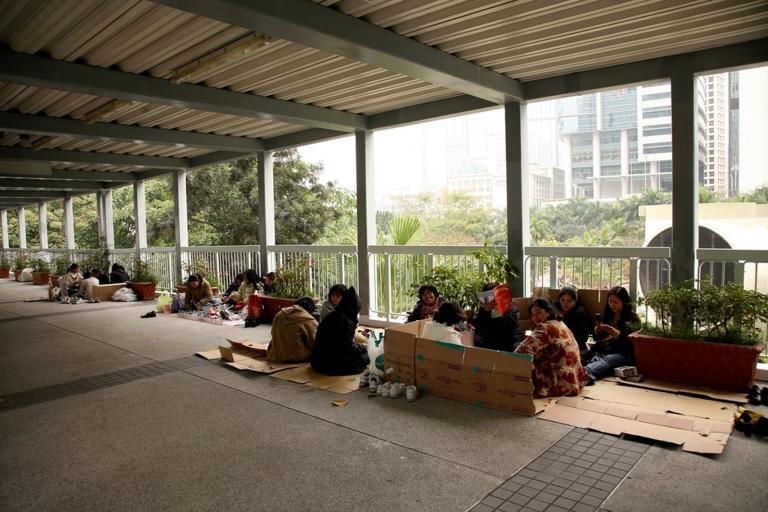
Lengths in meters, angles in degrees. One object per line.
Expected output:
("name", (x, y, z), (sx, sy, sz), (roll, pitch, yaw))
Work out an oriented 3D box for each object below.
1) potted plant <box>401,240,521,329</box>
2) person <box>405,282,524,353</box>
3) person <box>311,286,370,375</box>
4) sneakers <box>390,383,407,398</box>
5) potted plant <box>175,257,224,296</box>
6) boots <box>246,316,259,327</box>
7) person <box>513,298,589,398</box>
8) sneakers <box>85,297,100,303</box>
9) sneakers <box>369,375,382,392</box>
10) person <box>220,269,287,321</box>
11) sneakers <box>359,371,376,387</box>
("potted plant", (1.254, 0.333, 7.170), (1.492, 0.966, 1.279), (-4, 6, -23))
("person", (1.014, 0.777, 6.126), (0.898, 0.495, 1.149), (-2, 3, -43))
("person", (-0.431, 0.944, 6.347), (0.955, 1.013, 0.964), (4, 1, -18))
("sneakers", (0.157, 1.533, 5.393), (0.092, 0.087, 0.227), (1, 1, 28))
("potted plant", (-4.635, 0.445, 12.096), (1.114, 1.092, 1.213), (-1, 1, -33))
("boots", (-2.465, 1.226, 8.884), (0.194, 0.123, 0.185), (2, -4, -31))
("person", (1.820, 0.999, 5.220), (0.850, 1.014, 0.419), (-5, 13, -9))
("sneakers", (-7.578, 1.149, 12.402), (0.316, 0.135, 0.371), (-10, 13, -32))
("sneakers", (-0.108, 1.483, 5.549), (0.091, 0.082, 0.215), (-6, 24, 11))
("person", (-2.715, 0.789, 9.891), (0.964, 1.390, 1.147), (0, -9, 38))
("sneakers", (-0.203, 1.467, 5.714), (0.105, 0.086, 0.249), (-5, 16, 11))
